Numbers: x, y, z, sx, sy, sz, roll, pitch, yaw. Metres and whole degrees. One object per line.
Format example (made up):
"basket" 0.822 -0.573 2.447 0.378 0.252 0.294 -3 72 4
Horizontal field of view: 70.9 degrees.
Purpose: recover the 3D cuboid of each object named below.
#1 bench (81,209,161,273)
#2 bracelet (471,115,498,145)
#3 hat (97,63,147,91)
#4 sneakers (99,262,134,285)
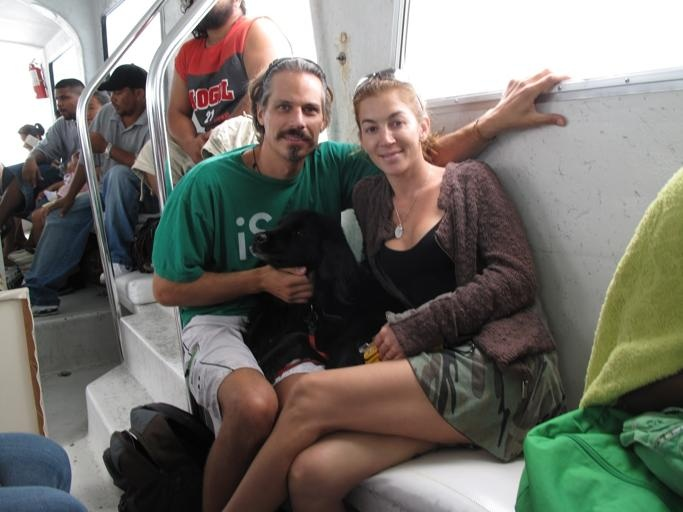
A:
"bench" -1.510 -0.114 3.285 0.243 0.429 0.136 6 29 3
"bracelet" 0.495 -0.426 1.676 0.033 0.086 0.076 -23 32 26
"hat" -1.717 -1.396 3.759 0.340 0.223 0.197 -10 12 -25
"sneakers" -1.504 0.120 3.215 0.168 0.185 0.065 7 2 18
